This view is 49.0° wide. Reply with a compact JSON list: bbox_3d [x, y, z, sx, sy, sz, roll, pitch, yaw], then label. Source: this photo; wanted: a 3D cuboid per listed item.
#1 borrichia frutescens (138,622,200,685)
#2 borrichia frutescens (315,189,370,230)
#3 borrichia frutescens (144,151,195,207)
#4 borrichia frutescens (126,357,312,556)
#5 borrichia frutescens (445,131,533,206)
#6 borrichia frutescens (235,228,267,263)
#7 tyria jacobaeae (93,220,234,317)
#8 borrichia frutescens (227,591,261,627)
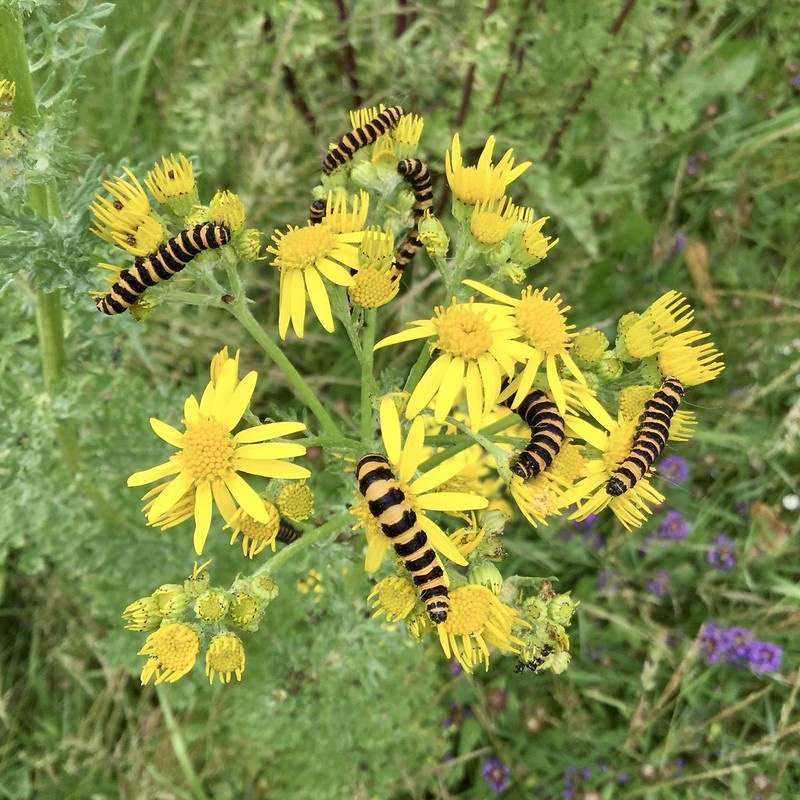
[{"bbox_3d":[-1.052,1.189,4.134,0.406,0.183,0.270,0,91,4],"label":"borrichia frutescens"},{"bbox_3d":[-0.282,-0.926,4.283,0.236,0.258,0.168,0,90,-1],"label":"borrichia frutescens"},{"bbox_3d":[-1.039,-1.076,4.243,0.211,0.206,0.218,-19,109,-7],"label":"borrichia frutescens"},{"bbox_3d":[-0.800,0.294,4.711,0.743,1.819,0.881,32,88,3],"label":"borrichia frutescens"},{"bbox_3d":[0.357,-1.141,4.272,0.469,0.389,0.242,23,126,23],"label":"borrichia frutescens"},{"bbox_3d":[-0.737,-0.753,4.279,0.119,0.206,0.161,-2,86,2],"label":"borrichia frutescens"},{"bbox_3d":[-1.129,-0.638,4.123,0.718,0.245,0.183,-34,86,-2],"label":"tyria jacobaeae"},{"bbox_3d":[-0.736,1.006,4.142,0.138,0.063,0.173,2,86,1],"label":"borrichia frutescens"}]
